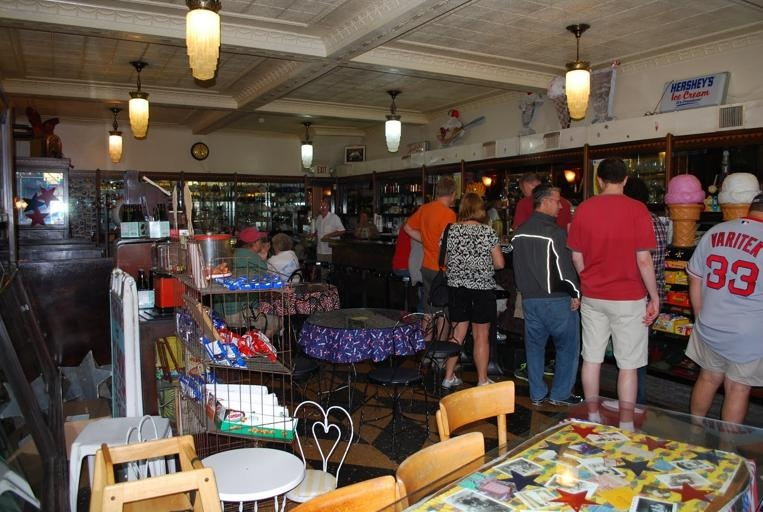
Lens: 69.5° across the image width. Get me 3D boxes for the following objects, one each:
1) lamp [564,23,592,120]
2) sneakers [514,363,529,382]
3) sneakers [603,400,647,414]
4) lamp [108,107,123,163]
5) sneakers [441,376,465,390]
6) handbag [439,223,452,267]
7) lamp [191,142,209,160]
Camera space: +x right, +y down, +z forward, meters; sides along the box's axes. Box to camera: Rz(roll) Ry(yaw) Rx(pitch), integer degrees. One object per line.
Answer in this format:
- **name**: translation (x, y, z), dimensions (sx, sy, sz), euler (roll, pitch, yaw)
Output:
- **lamp**: translation (2.327, -2.148, 6.558), dimensions (0.267, 1.029, 0.930), euler (0, 8, 19)
- **sneakers**: translation (1.518, 1.275, 6.053), dimensions (0.115, 0.136, 0.342), euler (2, -5, 6)
- **sneakers**: translation (1.377, 0.861, 3.149), dimensions (0.182, 0.046, 0.099), euler (0, 2, 10)
- **lamp**: translation (-4.602, -2.097, 9.591), dimensions (0.222, 0.903, 0.234), euler (6, 6, 30)
- **sneakers**: translation (0.737, 1.308, 5.725), dimensions (0.263, 0.115, 0.090), euler (-10, 12, -43)
- **handbag**: translation (0.617, -0.084, 5.464), dimensions (0.100, 0.339, 0.242), euler (8, 8, 10)
- **lamp**: translation (-3.885, -2.260, 11.862), dimensions (0.357, 0.370, 0.083), euler (2, 3, -37)
